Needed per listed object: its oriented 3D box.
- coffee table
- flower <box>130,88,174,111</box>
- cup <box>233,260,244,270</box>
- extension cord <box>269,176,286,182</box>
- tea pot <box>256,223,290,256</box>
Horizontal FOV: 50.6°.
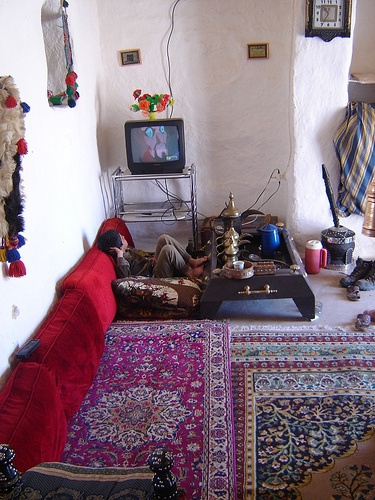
[{"bbox_3d":[0.478,0.177,2.876,0.771,0.385,0.780,-2,21,3],"label":"coffee table"},{"bbox_3d":[-0.305,-1.340,3.585,0.377,0.206,0.423,-4,21,-3],"label":"flower"},{"bbox_3d":[0.325,0.094,2.528,0.045,0.042,0.060,5,15,23],"label":"cup"},{"bbox_3d":[0.879,-0.699,3.855,0.147,0.058,0.040,6,23,22],"label":"extension cord"},{"bbox_3d":[0.621,-0.081,2.936,0.226,0.225,0.153,6,28,23],"label":"tea pot"}]
